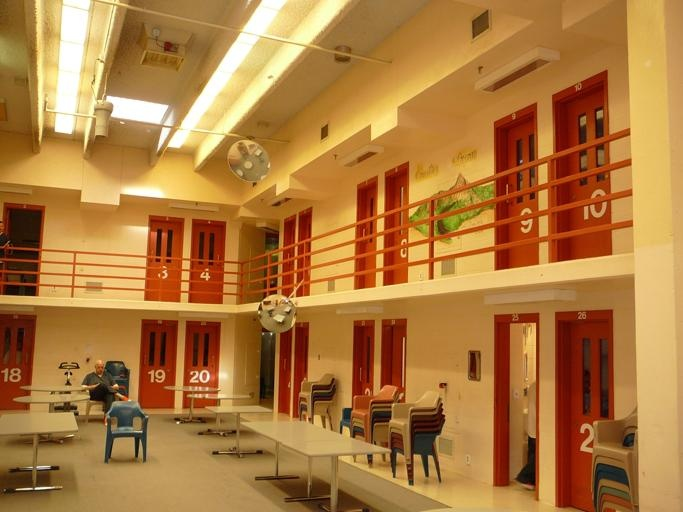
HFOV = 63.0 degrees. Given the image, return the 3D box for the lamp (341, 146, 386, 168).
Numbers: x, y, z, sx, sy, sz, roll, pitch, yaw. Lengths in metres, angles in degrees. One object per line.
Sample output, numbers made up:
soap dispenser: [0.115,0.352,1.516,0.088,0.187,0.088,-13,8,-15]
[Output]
lamp: [0.465,-2.257,12.457,0.449,0.181,1.238,5,-8,-30]

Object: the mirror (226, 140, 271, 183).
mirror: [-1.510,-1.576,9.146,0.613,0.758,0.473,2,-6,-8]

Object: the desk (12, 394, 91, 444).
desk: [-6.457,3.611,12.481,1.490,1.002,1.588,-5,-18,21]
